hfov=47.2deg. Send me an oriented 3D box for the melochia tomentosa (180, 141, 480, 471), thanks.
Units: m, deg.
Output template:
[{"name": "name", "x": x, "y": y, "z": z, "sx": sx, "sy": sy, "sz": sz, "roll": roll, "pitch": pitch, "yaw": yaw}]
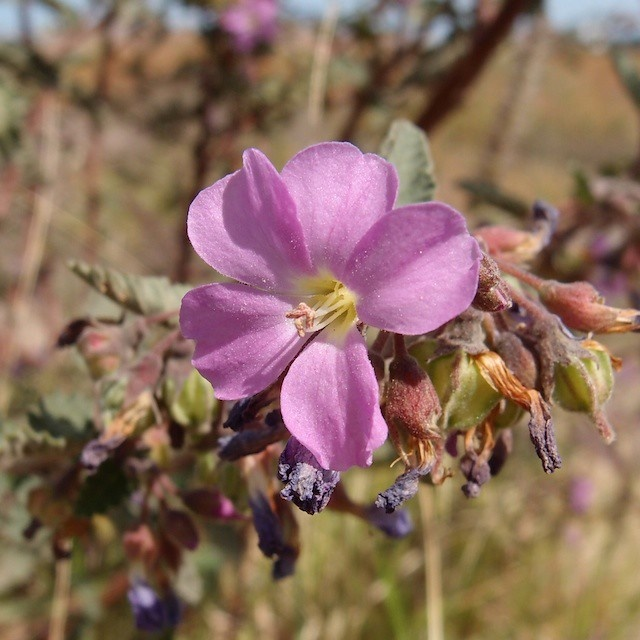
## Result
[{"name": "melochia tomentosa", "x": -0.017, "y": -0.048, "z": 1.051, "sx": 0.432, "sy": 0.215, "sz": 0.406, "roll": 32, "pitch": 83, "yaw": 6}]
